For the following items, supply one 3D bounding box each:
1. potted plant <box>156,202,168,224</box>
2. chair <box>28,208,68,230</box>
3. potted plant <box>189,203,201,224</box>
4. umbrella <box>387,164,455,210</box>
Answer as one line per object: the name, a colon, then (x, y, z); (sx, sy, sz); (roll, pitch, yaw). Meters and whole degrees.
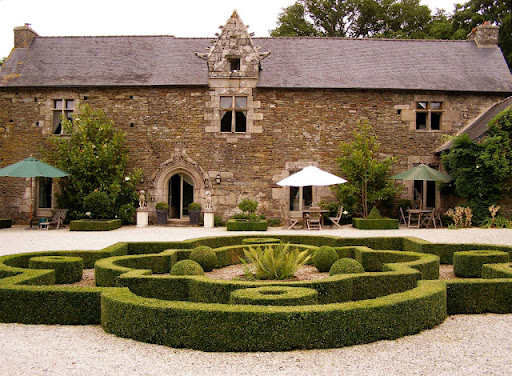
potted plant: (-3.819, 0.991, 26.170); (0.470, 0.883, 0.378); (1, -6, -4)
chair: (-8.040, 1.191, 25.293); (0.984, 0.624, 1.285); (-2, -3, 15)
potted plant: (-2.479, 1.025, 25.993); (0.434, 0.872, 0.287); (1, -7, -9)
umbrella: (6.489, -0.074, 25.404); (2.380, 1.302, 2.013); (0, -2, -3)
